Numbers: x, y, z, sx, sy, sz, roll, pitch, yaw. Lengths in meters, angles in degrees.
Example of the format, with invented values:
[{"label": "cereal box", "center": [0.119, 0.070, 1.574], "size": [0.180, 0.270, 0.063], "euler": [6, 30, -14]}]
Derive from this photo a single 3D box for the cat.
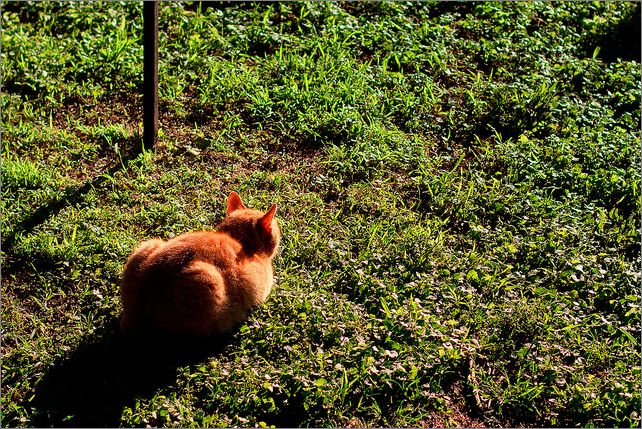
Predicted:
[{"label": "cat", "center": [-1.195, 0.609, 6.624], "size": [1.661, 1.031, 1.101], "euler": [-24, 47, -34]}]
